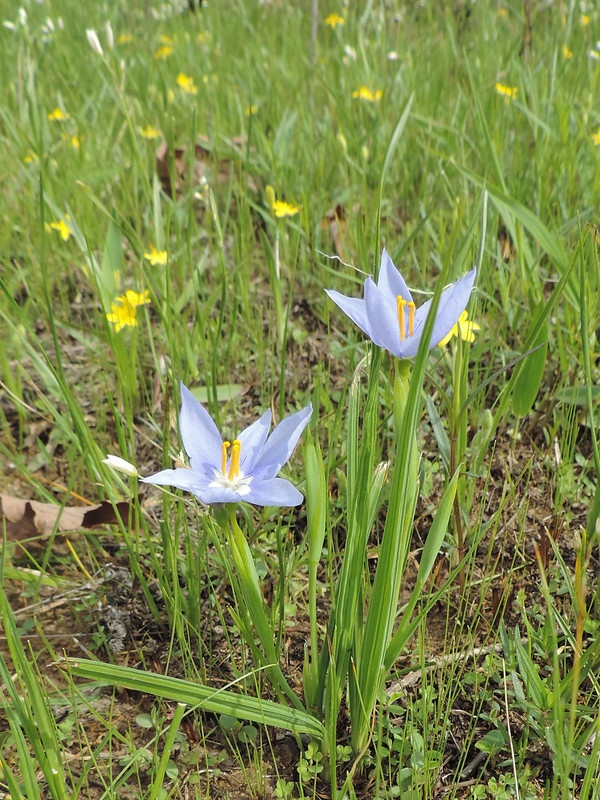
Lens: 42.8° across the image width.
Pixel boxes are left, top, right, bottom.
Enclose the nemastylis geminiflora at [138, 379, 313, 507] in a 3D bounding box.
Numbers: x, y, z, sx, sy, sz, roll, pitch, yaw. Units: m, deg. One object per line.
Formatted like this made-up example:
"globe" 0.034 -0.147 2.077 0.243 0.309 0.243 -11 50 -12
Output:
"nemastylis geminiflora" -0.102 0.084 1.036 0.201 0.181 0.249 3 10 18
